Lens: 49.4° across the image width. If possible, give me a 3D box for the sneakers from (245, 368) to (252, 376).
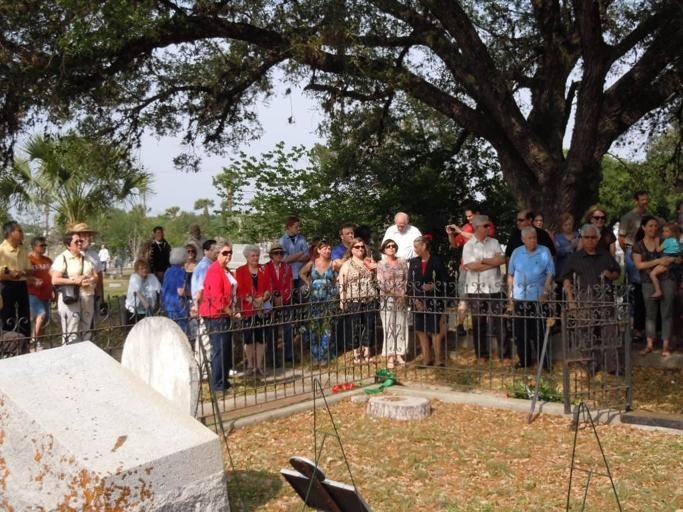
[{"bbox_3d":[-1.491,1.896,12.114,0.133,0.116,0.272,-2,-17,-1],"label":"sneakers"}]
